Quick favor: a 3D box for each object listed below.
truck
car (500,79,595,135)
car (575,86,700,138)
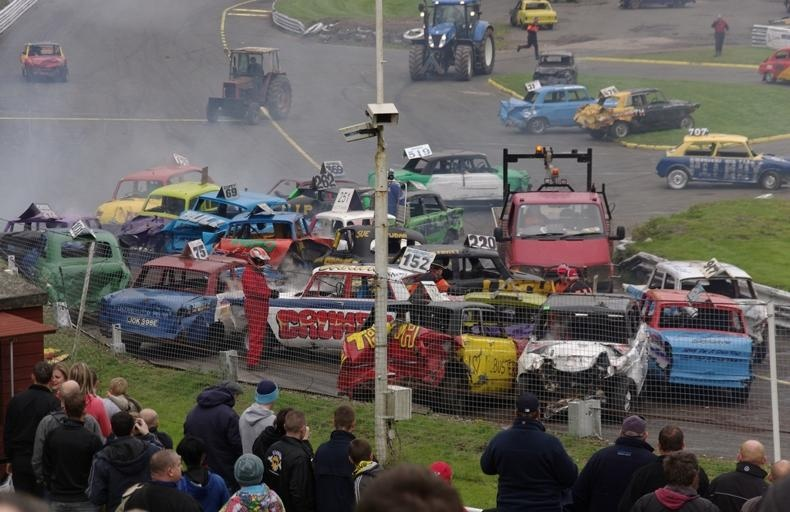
[{"bbox_3d":[5.521,-1.481,49.956,3.229,3.254,5.593,-1,14,4],"label":"truck"},{"bbox_3d":[7.035,-7.400,66.734,6.742,2.963,2.529,0,-1,14],"label":"car"},{"bbox_3d":[11.020,-6.469,66.267,5.160,2.264,2.872,1,3,6],"label":"car"}]
